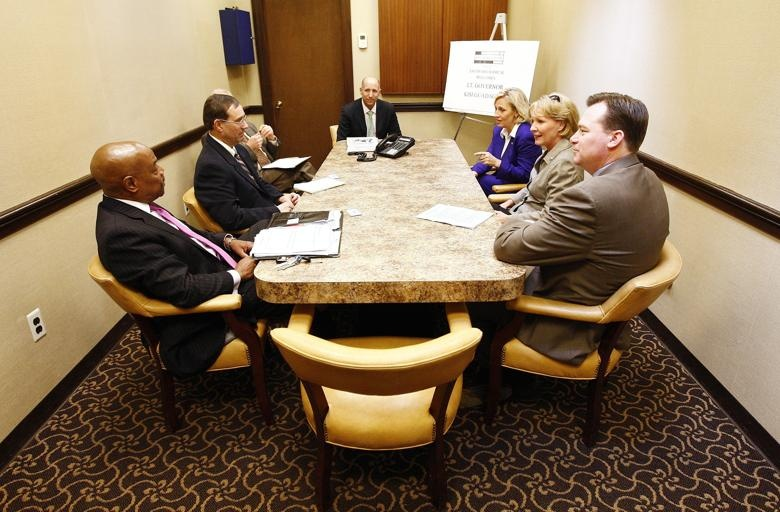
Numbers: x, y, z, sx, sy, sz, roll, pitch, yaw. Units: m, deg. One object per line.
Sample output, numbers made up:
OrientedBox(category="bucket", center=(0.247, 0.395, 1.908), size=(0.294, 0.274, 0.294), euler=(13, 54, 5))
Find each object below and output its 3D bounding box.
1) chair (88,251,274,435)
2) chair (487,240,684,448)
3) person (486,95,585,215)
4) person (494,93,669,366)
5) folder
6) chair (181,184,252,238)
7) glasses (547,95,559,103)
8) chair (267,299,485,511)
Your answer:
OrientedBox(category="chair", center=(-1.315, 0.334, 3.273), size=(1.023, 1.159, 0.928), euler=(-4, 25, -10))
OrientedBox(category="chair", center=(1.137, 0.297, 3.235), size=(1.126, 1.290, 0.996), euler=(8, 22, 26))
OrientedBox(category="person", center=(0.966, -0.772, 3.558), size=(0.588, 0.839, 0.569), euler=(2, 50, -2))
OrientedBox(category="person", center=(1.050, -0.143, 2.739), size=(0.919, 1.293, 0.650), euler=(-20, 36, -31))
OrientedBox(category="folder", center=(-0.512, -0.106, 2.875), size=(0.300, 0.048, 0.414), euler=(3, 26, -2))
OrientedBox(category="chair", center=(-1.244, -0.331, 3.695), size=(0.292, 0.323, 0.269), euler=(-13, 42, -10))
OrientedBox(category="glasses", center=(1.087, -1.049, 3.361), size=(0.057, 0.022, 0.090), euler=(-6, 37, 15))
OrientedBox(category="chair", center=(-0.029, 0.616, 2.823), size=(0.957, 1.129, 1.024), euler=(-1, 35, -1))
